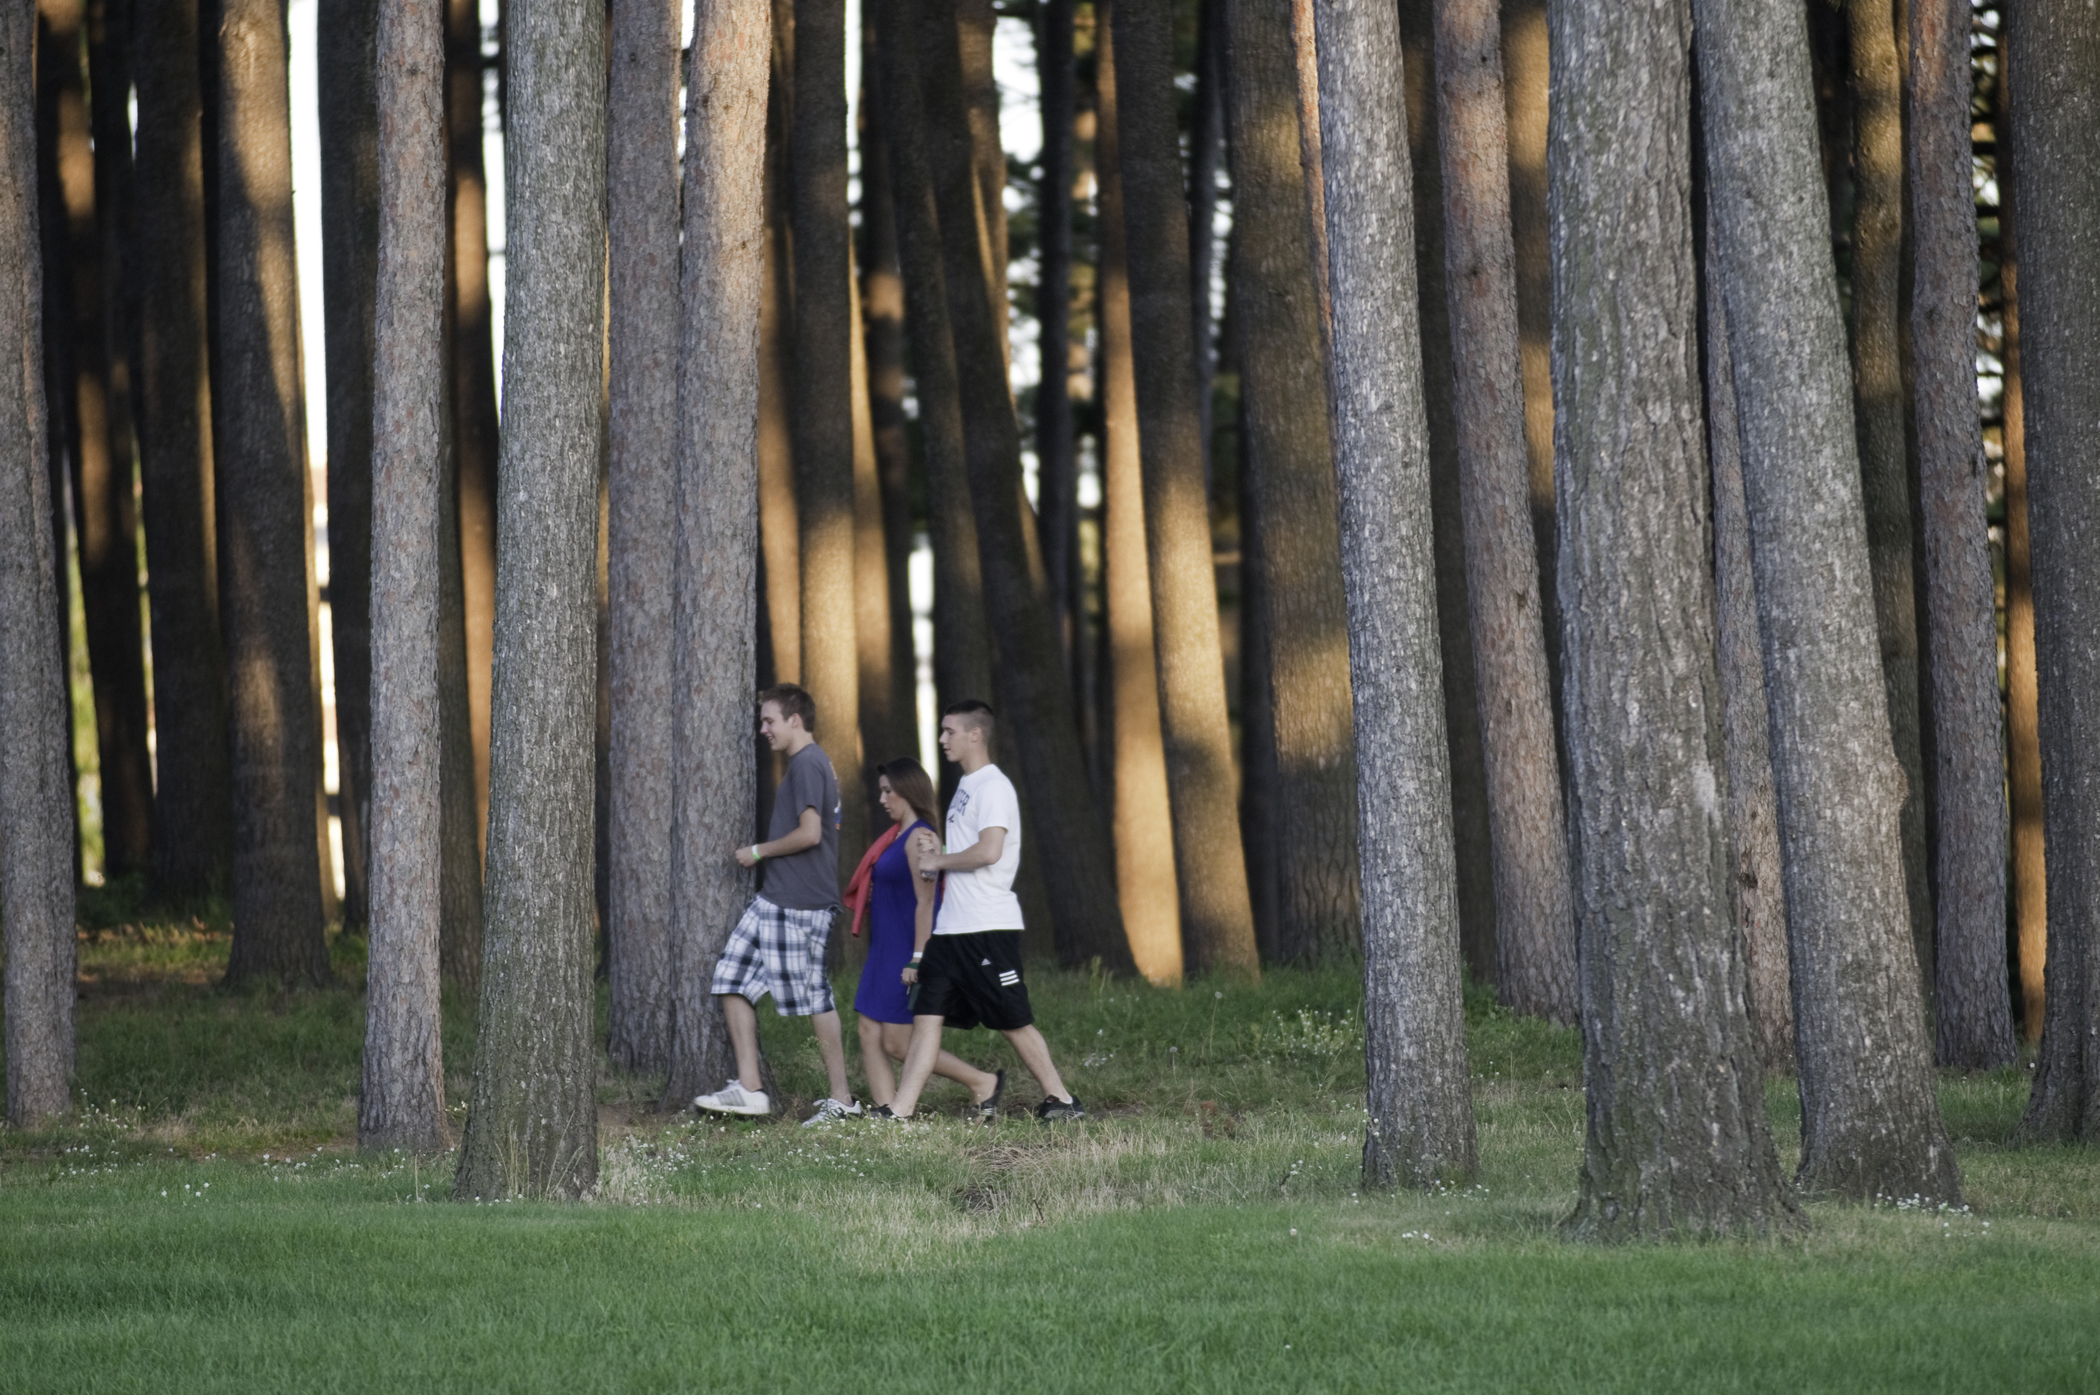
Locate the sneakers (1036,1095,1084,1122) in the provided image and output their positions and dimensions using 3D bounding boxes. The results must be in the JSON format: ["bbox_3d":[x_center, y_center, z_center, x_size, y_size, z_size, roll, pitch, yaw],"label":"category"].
[{"bbox_3d":[0.102,3.713,49.638,0.412,0.241,0.172,0,-1,0],"label":"sneakers"}]

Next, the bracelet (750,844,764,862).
[{"bbox_3d":[-2.652,1.430,50.051,0.145,0.128,0.172,-3,-9,-1],"label":"bracelet"}]
